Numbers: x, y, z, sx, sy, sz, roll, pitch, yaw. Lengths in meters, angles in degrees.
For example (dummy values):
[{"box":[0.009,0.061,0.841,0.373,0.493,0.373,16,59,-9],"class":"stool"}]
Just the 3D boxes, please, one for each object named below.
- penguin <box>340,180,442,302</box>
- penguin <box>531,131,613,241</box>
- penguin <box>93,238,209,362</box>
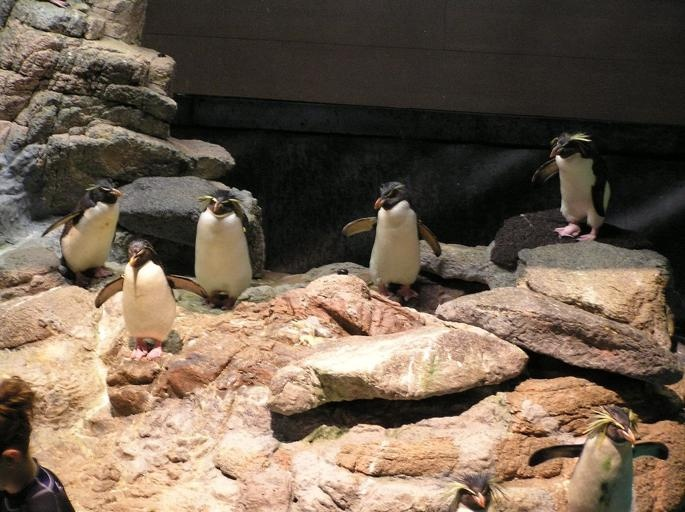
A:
[{"box":[0.514,-0.113,7.810,0.469,1.205,0.341,2,21,1],"class":"penguin"},{"box":[2.174,-0.630,7.593,0.569,0.975,0.374,6,21,13],"class":"penguin"},{"box":[-1.621,0.316,6.684,0.702,0.961,0.547,2,20,2],"class":"penguin"}]
